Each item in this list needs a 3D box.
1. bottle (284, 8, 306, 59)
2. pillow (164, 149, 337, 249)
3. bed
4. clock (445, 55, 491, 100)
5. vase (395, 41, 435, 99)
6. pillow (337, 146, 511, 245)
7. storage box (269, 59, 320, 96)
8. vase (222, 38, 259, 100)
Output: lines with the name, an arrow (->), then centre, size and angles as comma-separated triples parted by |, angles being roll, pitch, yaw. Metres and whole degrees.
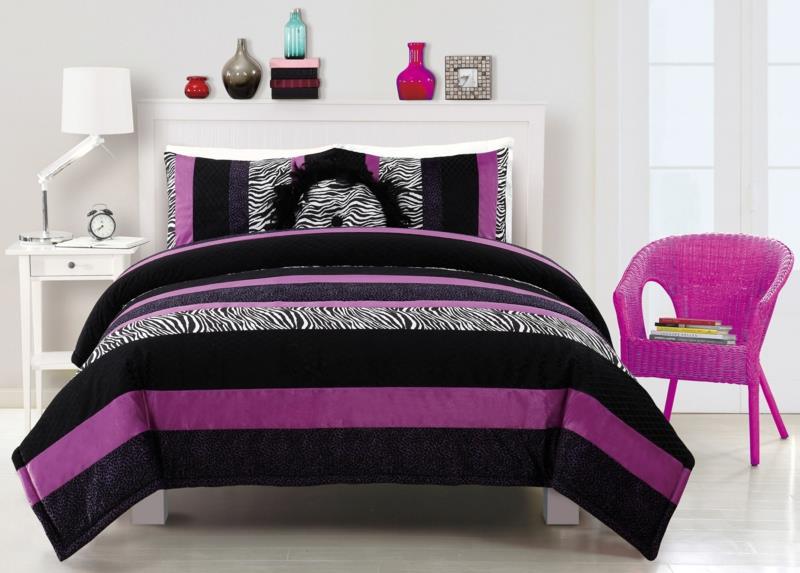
bottle -> -0.544, -1.311, 4.239 | 0.124, 0.257, 0.119 | 1, 13, 0
pillow -> -0.679, -0.392, 3.742 | 0.597, 0.368, 0.121 | -1, -13, 7
bed -> -0.373, -0.034, 3.419 | 2.528, 1.505, 2.100 | 0, 12, -4
clock -> 0.357, -1.092, 4.263 | 0.255, 0.224, 0.016 | 0, 0, 0
vase -> 0.093, -1.117, 4.234 | 0.192, 0.298, 0.125 | -8, 16, -35
pillow -> 0.104, -0.405, 3.748 | 0.601, 0.388, 0.094 | 0, -18, -6
storage box -> -0.548, -1.068, 4.197 | 0.222, 0.153, 0.218 | -1, 7, -2
vase -> -0.819, -1.132, 4.242 | 0.183, 0.314, 0.156 | 4, 14, 15
